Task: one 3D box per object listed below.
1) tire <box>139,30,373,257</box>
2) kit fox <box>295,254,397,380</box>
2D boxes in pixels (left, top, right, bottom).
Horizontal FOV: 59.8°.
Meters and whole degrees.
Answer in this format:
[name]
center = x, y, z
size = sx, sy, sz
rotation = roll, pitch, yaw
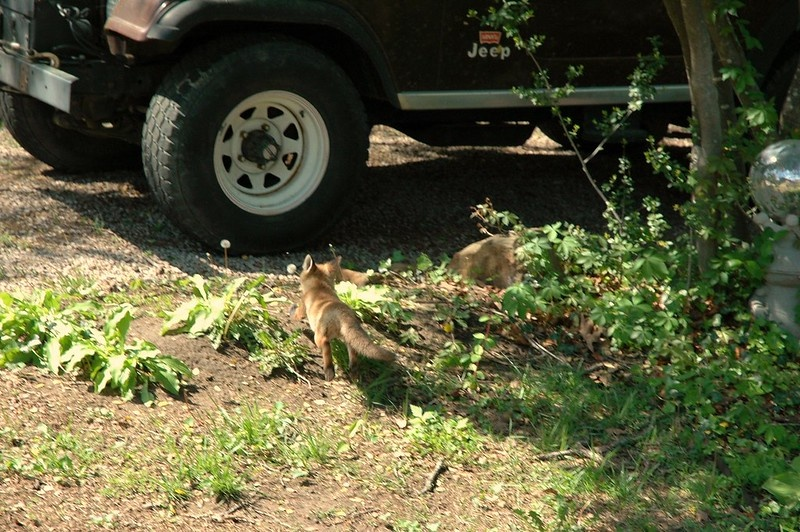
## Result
[tire]
center = -1.216, -1.048, 5.704
size = 1.664, 1.753, 0.595
rotation = -4, 12, -25
[kit fox]
center = -0.470, 0.362, 4.589
size = 0.372, 0.638, 1.329
rotation = -2, 31, -22
